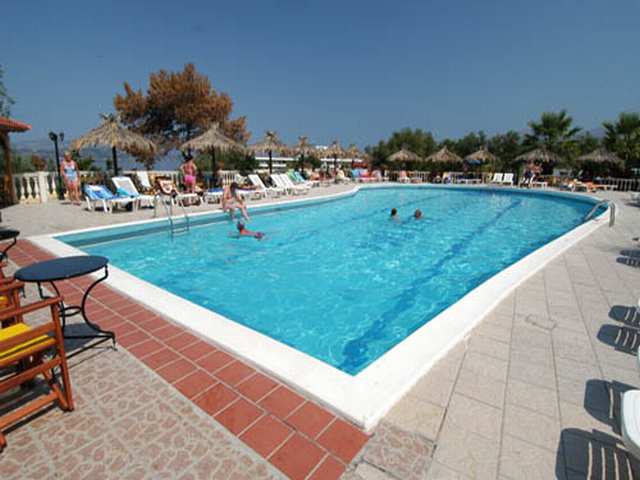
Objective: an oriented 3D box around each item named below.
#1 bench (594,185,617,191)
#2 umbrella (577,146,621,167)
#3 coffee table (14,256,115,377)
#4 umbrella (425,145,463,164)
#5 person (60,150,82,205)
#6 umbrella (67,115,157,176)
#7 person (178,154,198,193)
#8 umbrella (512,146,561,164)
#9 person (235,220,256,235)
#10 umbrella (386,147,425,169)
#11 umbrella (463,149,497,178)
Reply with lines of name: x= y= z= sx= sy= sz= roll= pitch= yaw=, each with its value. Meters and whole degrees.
bench: x=15.340 y=-2.840 z=20.209 sx=0.730 sy=0.374 sz=2.408 roll=8 pitch=17 yaw=40
umbrella: x=16.049 y=-4.752 z=21.385 sx=1.544 sy=0.708 sz=1.565 roll=-1 pitch=3 yaw=-20
coffee table: x=-2.343 y=0.644 z=3.534 sx=0.637 sy=0.770 sz=0.639 roll=-13 pitch=-6 yaw=17
umbrella: x=9.602 y=-6.439 z=29.756 sx=2.144 sy=1.285 sz=2.205 roll=0 pitch=13 yaw=2
person: x=-7.906 y=-1.959 z=11.960 sx=0.438 sy=1.615 sz=1.069 roll=-11 pitch=16 yaw=-32
umbrella: x=-7.351 y=-3.570 z=13.371 sx=2.198 sy=1.935 sz=2.050 roll=-4 pitch=15 yaw=-11
person: x=-4.738 y=-2.357 z=13.511 sx=0.561 sy=1.599 sz=0.508 roll=-4 pitch=26 yaw=-23
umbrella: x=13.948 y=-5.451 z=24.455 sx=1.634 sy=0.753 sz=1.656 roll=-4 pitch=7 yaw=-13
person: x=-1.917 y=-0.385 z=9.751 sx=0.446 sy=0.373 sz=1.162 roll=-5 pitch=13 yaw=-10
umbrella: x=6.602 y=-6.461 z=29.409 sx=2.353 sy=1.432 sz=1.523 roll=-11 pitch=15 yaw=-31
umbrella: x=12.177 y=-6.146 z=29.000 sx=2.316 sy=1.654 sz=2.543 roll=-4 pitch=14 yaw=-11
